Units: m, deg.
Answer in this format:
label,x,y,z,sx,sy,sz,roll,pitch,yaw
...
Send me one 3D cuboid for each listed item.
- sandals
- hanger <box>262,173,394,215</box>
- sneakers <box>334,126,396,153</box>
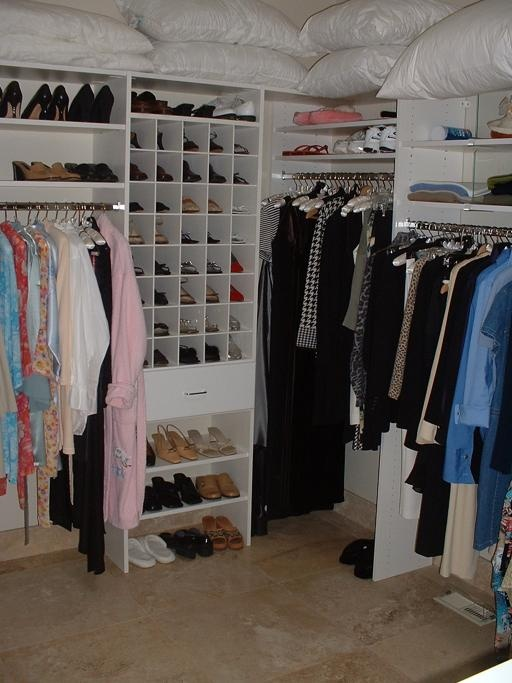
label,x,y,z,sx,sy,sz,roll,pitch,yaw
sandals,-0.354,0.515,2.735,0.232,0.084,0.248,-2,5,-37
hanger,0.370,-0.696,2.543,0.495,0.139,0.381,9,15,40
sneakers,0.491,-0.881,2.365,0.105,0.139,0.320,-20,28,-40
